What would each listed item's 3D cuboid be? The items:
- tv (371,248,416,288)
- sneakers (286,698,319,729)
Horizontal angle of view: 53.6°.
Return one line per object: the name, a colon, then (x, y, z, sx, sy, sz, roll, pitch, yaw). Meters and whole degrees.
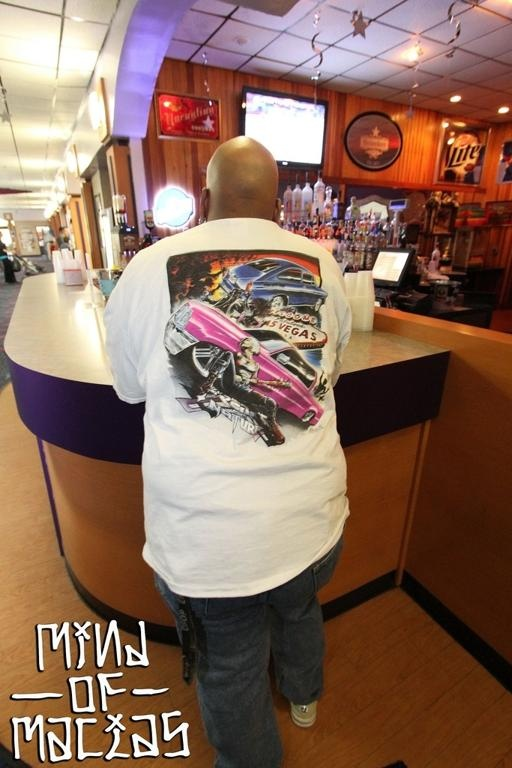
tv: (0.655, -0.568, 2.471, 0.107, 0.203, 0.288, -2, 23, -10)
sneakers: (0.135, 0.938, 1.435, 0.048, 0.053, 0.121, 1, 3, -3)
